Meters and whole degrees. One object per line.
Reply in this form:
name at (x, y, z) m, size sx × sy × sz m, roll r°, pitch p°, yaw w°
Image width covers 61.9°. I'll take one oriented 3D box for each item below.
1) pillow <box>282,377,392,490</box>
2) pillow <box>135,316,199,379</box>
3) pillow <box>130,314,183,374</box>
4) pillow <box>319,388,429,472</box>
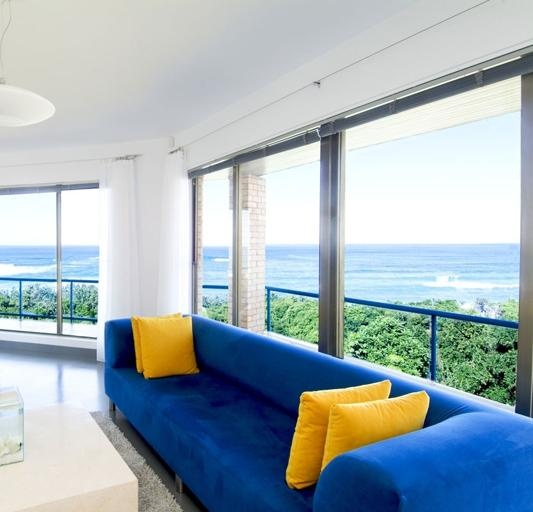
pillow at (0.271, 0.658, 1.636) m, size 0.137 × 0.249 × 0.400 m, roll 27°, pitch 14°, yaw 40°
pillow at (-0.724, 0.675, 3.198) m, size 0.425 × 0.376 × 0.153 m, roll -2°, pitch -32°, yaw -28°
pillow at (-0.844, 0.622, 3.228) m, size 0.357 × 0.306 × 0.130 m, roll -3°, pitch -11°, yaw -37°
pillow at (0.435, 0.611, 1.663) m, size 0.373 × 0.215 × 0.121 m, roll -8°, pitch 13°, yaw -15°
